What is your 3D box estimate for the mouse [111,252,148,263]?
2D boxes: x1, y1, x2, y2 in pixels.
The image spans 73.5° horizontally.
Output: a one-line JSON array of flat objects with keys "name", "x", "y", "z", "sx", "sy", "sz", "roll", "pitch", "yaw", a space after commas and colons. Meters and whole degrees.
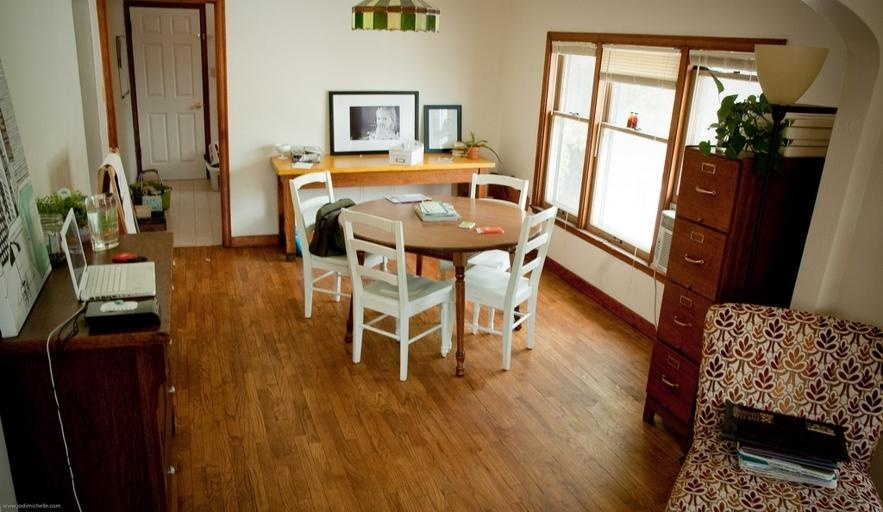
[{"name": "mouse", "x": -1.913, "y": 0.013, "z": 3.624, "sx": 0.167, "sy": 0.031, "sz": 0.092, "roll": 6, "pitch": 18, "yaw": 9}]

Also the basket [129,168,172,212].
[{"name": "basket", "x": -3.439, "y": -0.786, "z": 7.012, "sx": 0.406, "sy": 0.498, "sz": 0.780, "roll": -12, "pitch": 24, "yaw": -30}]

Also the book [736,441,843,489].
[{"name": "book", "x": 1.958, "y": 1.211, "z": 3.376, "sx": 0.301, "sy": 0.074, "sz": 0.303, "roll": 3, "pitch": 3, "yaw": 5}]

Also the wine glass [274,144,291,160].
[{"name": "wine glass", "x": -1.768, "y": -1.171, "z": 6.645, "sx": 0.172, "sy": 0.150, "sz": 0.173, "roll": 1, "pitch": 20, "yaw": 1}]

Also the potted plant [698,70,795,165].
[{"name": "potted plant", "x": 1.984, "y": -0.895, "z": 4.030, "sx": 0.647, "sy": 0.623, "sz": 0.442, "roll": 3, "pitch": 64, "yaw": 21}]

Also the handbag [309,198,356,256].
[{"name": "handbag", "x": -0.927, "y": -0.238, "z": 5.077, "sx": 0.229, "sy": 0.383, "sz": 0.402, "roll": 10, "pitch": 24, "yaw": 7}]

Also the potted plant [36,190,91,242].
[{"name": "potted plant", "x": -2.354, "y": -0.289, "z": 3.681, "sx": 0.176, "sy": 0.329, "sz": 0.376, "roll": -1, "pitch": 6, "yaw": 31}]

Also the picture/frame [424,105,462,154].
[{"name": "picture/frame", "x": 0.005, "y": -1.551, "z": 7.161, "sx": 0.544, "sy": 0.633, "sz": 0.044, "roll": -6, "pitch": 14, "yaw": -23}]

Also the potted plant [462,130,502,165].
[{"name": "potted plant", "x": 0.491, "y": -1.316, "z": 7.231, "sx": 0.401, "sy": 0.197, "sz": 0.403, "roll": 0, "pitch": 17, "yaw": -2}]

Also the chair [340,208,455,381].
[{"name": "chair", "x": -0.361, "y": 0.334, "z": 4.899, "sx": 0.804, "sy": 1.558, "sz": 0.990, "roll": 15, "pitch": 29, "yaw": 29}]

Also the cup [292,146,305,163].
[{"name": "cup", "x": -1.575, "y": -1.110, "z": 6.512, "sx": 0.145, "sy": 0.133, "sz": 0.215, "roll": -4, "pitch": 21, "yaw": -14}]

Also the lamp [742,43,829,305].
[{"name": "lamp", "x": 2.170, "y": -0.530, "z": 3.905, "sx": 0.439, "sy": 1.612, "sz": 0.313, "roll": -9, "pitch": 23, "yaw": -24}]
